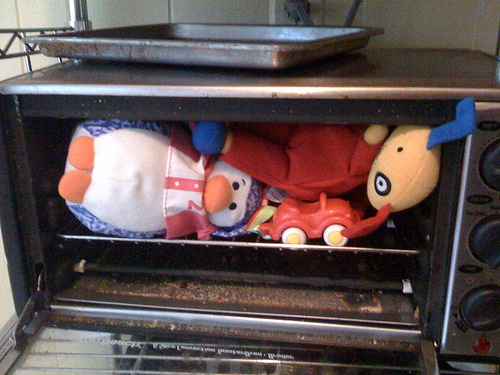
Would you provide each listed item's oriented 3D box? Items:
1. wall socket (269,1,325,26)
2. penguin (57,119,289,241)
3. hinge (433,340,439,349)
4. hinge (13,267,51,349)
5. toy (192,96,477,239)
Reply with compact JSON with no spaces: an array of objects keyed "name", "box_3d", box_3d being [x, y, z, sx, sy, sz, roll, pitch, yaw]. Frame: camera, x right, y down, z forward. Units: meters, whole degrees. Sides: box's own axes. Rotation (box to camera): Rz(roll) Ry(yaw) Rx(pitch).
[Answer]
[{"name":"wall socket","box_3d":[0.147,-0.537,1.436,0.132,0.084,0.132,-9,20,-7]},{"name":"penguin","box_3d":[-0.195,0.006,1.190,0.464,0.253,0.208,8,-15,-6]},{"name":"hinge","box_3d":[0.420,0.359,1.064,0.013,0.018,0.009,1,18,12]},{"name":"hinge","box_3d":[-0.521,0.303,1.098,0.037,0.099,0.112,6,19,24]},{"name":"toy","box_3d":[0.143,-0.024,1.152,0.629,0.256,0.383,4,6,20]}]
